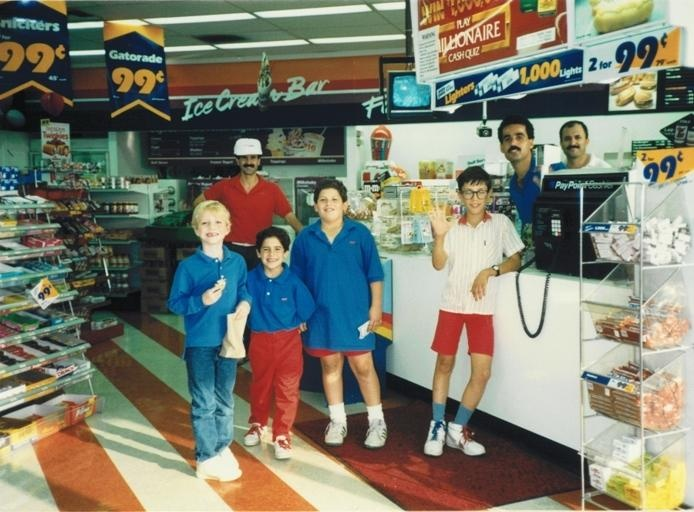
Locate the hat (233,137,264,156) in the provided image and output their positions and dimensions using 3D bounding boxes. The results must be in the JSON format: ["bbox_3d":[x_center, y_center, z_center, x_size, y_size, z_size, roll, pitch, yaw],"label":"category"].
[{"bbox_3d":[-0.893,-0.974,4.954,0.221,0.164,0.233,-3,9,-16],"label":"hat"}]

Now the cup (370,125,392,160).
[{"bbox_3d":[0.516,-1.752,8.551,0.278,0.524,0.423,0,8,1],"label":"cup"}]

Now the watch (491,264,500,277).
[{"bbox_3d":[0.984,0.091,3.628,0.051,0.064,0.016,6,-12,1],"label":"watch"}]

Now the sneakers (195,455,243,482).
[{"bbox_3d":[-0.792,1.328,3.429,0.267,0.119,0.141,1,12,-7],"label":"sneakers"}]

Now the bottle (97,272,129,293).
[{"bbox_3d":[-3.349,0.371,7.874,0.554,0.273,0.338,1,4,-10],"label":"bottle"}]

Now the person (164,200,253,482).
[{"bbox_3d":[-0.847,0.523,3.448,0.477,1.712,0.348,-2,8,-10],"label":"person"}]

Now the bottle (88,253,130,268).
[{"bbox_3d":[-3.376,0.073,7.927,0.387,0.122,0.285,1,3,40],"label":"bottle"}]

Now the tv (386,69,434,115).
[{"bbox_3d":[0.627,-1.674,5.608,0.419,0.417,0.247,0,8,2],"label":"tv"}]

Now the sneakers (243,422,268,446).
[{"bbox_3d":[-0.641,1.253,3.856,0.082,0.092,0.214,-2,-8,10],"label":"sneakers"}]

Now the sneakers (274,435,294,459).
[{"bbox_3d":[-0.414,1.269,3.624,0.079,0.080,0.188,1,-5,-12],"label":"sneakers"}]

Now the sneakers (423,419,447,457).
[{"bbox_3d":[0.583,1.231,3.697,0.099,0.113,0.278,1,-1,11],"label":"sneakers"}]

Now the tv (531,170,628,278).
[{"bbox_3d":[1.580,-0.224,3.562,0.437,0.726,0.597,-15,15,-40],"label":"tv"}]

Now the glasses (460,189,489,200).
[{"bbox_3d":[0.844,-0.405,3.637,0.163,0.055,0.039,1,8,10],"label":"glasses"}]

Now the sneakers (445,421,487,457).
[{"bbox_3d":[0.811,1.241,3.757,0.123,0.147,0.334,-1,3,-37],"label":"sneakers"}]

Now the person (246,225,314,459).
[{"bbox_3d":[-0.476,0.570,3.762,0.479,1.520,0.479,-4,9,-22],"label":"person"}]

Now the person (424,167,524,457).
[{"bbox_3d":[0.839,0.360,3.743,0.696,1.917,0.412,-2,8,-7],"label":"person"}]
